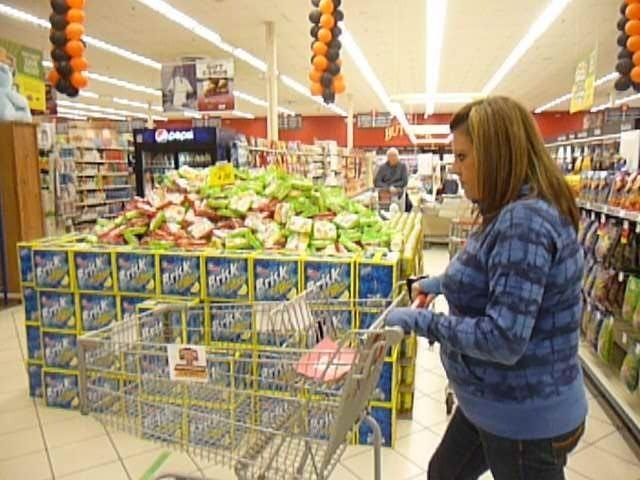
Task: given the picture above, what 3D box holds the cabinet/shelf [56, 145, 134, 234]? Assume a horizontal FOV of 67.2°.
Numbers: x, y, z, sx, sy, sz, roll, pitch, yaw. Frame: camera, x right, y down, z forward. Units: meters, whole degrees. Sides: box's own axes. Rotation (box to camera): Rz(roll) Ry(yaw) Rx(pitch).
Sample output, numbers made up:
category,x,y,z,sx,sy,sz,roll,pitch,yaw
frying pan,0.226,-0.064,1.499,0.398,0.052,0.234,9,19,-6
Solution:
category,x,y,z,sx,sy,sz,roll,pitch,yaw
cabinet/shelf,-5.123,-1.168,10.811,0.721,2.137,2.034,0,21,8
